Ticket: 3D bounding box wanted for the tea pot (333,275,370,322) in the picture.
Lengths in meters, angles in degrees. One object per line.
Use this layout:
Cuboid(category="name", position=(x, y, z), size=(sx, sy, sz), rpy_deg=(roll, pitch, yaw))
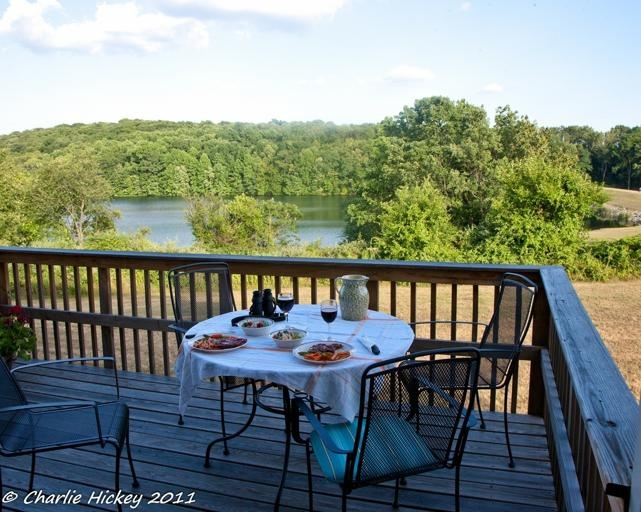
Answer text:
Cuboid(category="tea pot", position=(0.172, 0.227, 2.980), size=(0.227, 0.216, 0.171), rpy_deg=(2, 9, 26))
